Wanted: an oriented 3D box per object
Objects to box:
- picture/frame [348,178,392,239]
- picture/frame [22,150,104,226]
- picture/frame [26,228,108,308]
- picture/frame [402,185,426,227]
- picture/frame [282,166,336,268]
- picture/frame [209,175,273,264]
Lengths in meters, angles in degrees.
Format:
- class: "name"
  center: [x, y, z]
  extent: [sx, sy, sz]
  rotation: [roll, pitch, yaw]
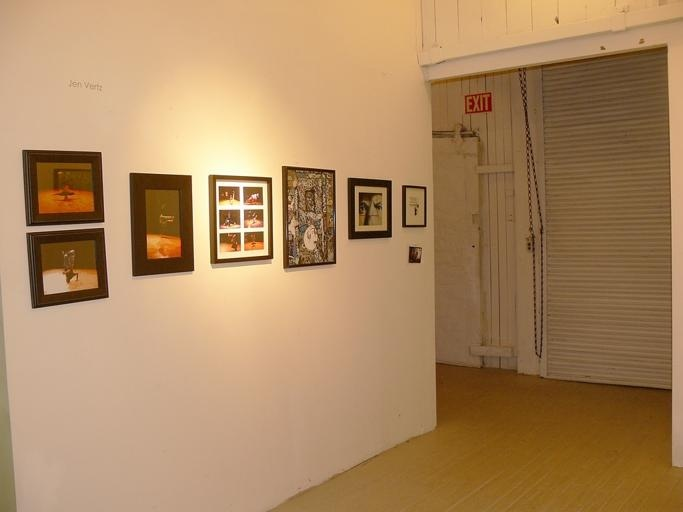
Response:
- class: "picture/frame"
  center: [0.189, -0.344, 3.716]
  extent: [0.029, 0.441, 0.407]
  rotation: [0, 2, 40]
- class: "picture/frame"
  center: [-1.258, -0.303, 2.302]
  extent: [0.022, 0.347, 0.315]
  rotation: [-2, 1, 41]
- class: "picture/frame"
  center: [-1.248, 0.051, 2.319]
  extent: [0.022, 0.345, 0.316]
  rotation: [2, 6, 37]
- class: "picture/frame"
  center: [0.575, -0.393, 4.088]
  extent: [0.024, 0.326, 0.293]
  rotation: [1, 3, 44]
- class: "picture/frame"
  center: [-0.225, -0.257, 3.321]
  extent: [0.030, 0.832, 0.557]
  rotation: [6, 9, 42]
- class: "picture/frame"
  center: [-0.591, -0.211, 2.943]
  extent: [0.036, 0.563, 0.435]
  rotation: [6, 10, 44]
